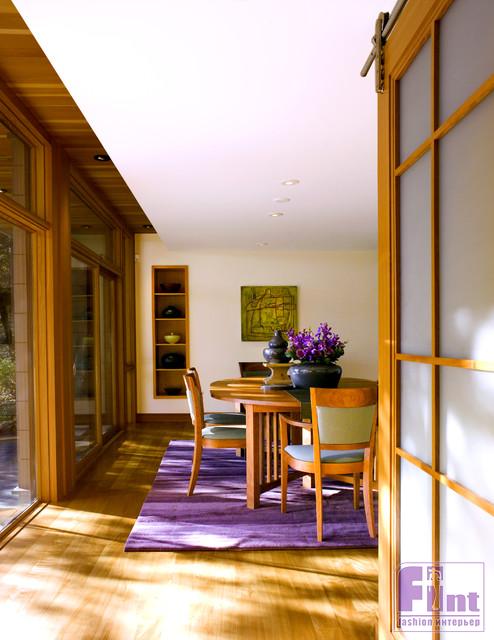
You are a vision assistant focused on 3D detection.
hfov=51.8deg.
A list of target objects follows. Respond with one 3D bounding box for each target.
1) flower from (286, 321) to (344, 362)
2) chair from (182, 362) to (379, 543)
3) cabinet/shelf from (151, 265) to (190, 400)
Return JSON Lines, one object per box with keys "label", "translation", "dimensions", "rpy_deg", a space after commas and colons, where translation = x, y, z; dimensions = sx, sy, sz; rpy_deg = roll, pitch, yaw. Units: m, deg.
{"label": "flower", "translation": [0.536, 0.196, 3.500], "dimensions": [0.306, 0.174, 0.276], "rpy_deg": [1, 17, 31]}
{"label": "chair", "translation": [0.147, 0.761, 3.214], "dimensions": [0.736, 0.663, 1.371], "rpy_deg": [0, -3, -21]}
{"label": "cabinet/shelf", "translation": [-1.028, 0.157, 6.815], "dimensions": [0.481, 1.719, 0.392], "rpy_deg": [0, -3, -10]}
